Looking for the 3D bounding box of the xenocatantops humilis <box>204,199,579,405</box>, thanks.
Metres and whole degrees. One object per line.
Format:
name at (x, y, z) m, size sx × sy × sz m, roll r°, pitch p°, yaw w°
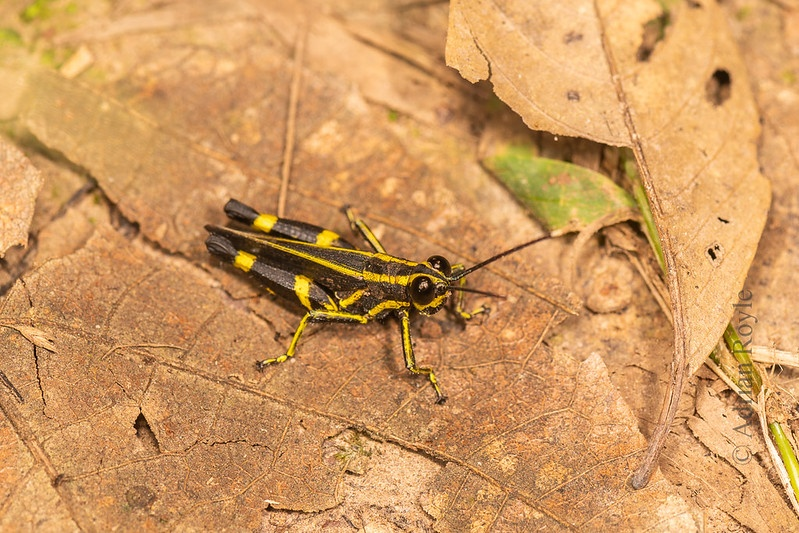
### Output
xenocatantops humilis at (-0.538, 0.137, 6.231) m, size 1.993 × 0.411 × 0.916 m, roll 18°, pitch 79°, yaw -1°
